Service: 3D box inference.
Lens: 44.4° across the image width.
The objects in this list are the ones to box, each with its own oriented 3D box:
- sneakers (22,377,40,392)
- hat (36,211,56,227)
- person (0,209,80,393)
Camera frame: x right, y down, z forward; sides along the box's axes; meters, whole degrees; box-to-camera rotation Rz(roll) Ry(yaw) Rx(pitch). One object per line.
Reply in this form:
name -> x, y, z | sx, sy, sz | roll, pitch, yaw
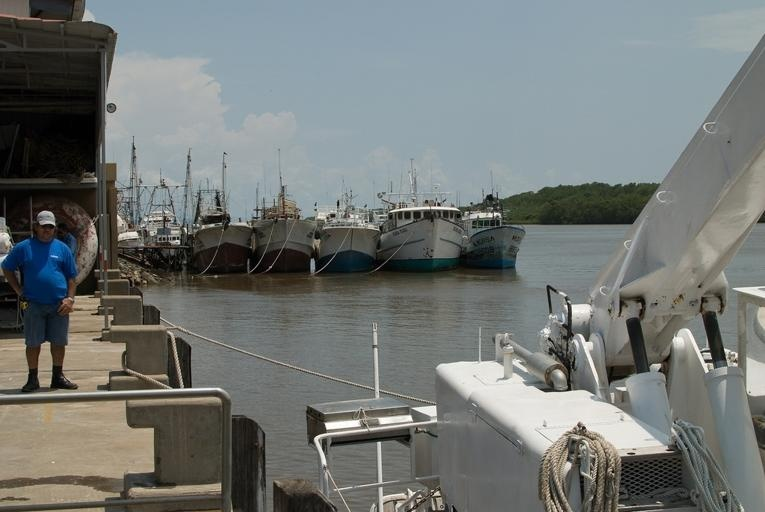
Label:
sneakers -> -3.997, 1.400, 10.685 | 0.192, 0.223, 0.345 | 2, 2, -21
hat -> -3.905, -0.458, 10.911 | 0.179, 0.158, 0.274 | 5, -6, -32
person -> -3.903, 0.493, 10.785 | 0.833, 2.038, 0.560 | 2, 2, -22
